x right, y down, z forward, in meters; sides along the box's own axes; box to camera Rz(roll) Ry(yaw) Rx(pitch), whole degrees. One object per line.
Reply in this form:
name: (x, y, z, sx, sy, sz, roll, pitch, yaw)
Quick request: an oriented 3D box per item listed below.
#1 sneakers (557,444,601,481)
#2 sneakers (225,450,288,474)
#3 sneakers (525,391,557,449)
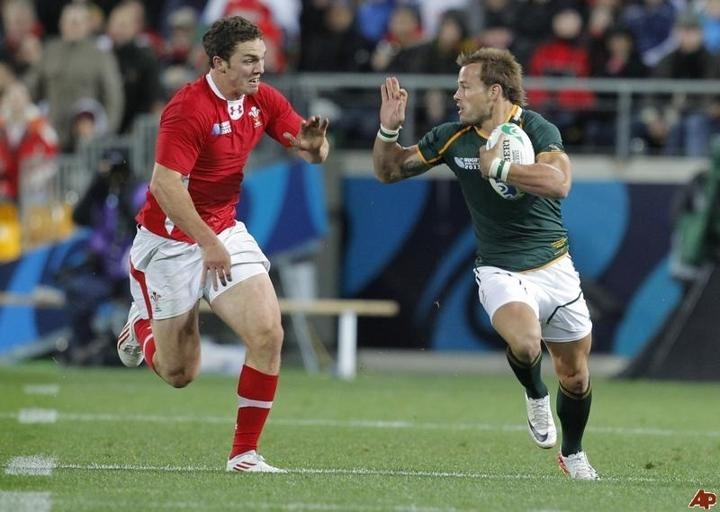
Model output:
sneakers: (1.682, 1.604, 7.045, 0.130, 0.162, 0.357, -19, 17, -24)
sneakers: (-0.775, 1.541, 6.835, 0.490, 0.218, 0.175, 2, -4, 1)
sneakers: (1.410, 1.298, 7.060, 0.163, 0.507, 0.197, -10, -29, 7)
